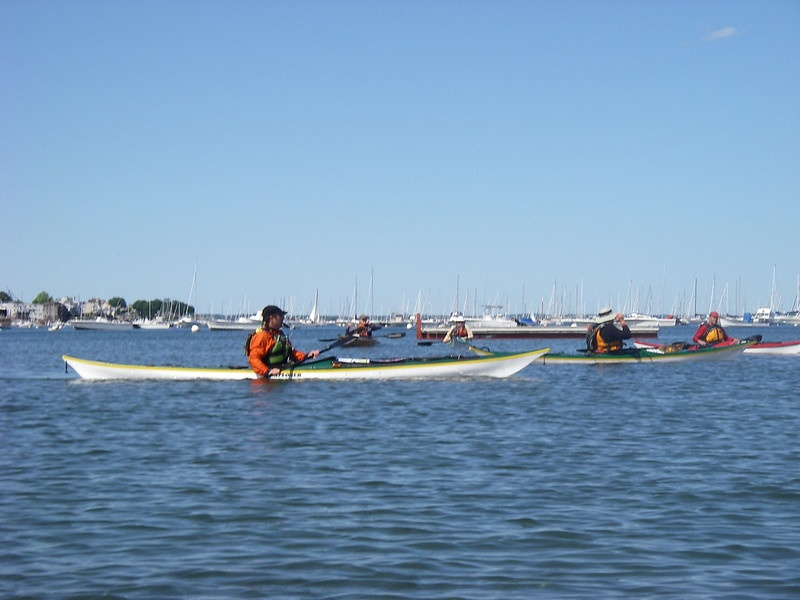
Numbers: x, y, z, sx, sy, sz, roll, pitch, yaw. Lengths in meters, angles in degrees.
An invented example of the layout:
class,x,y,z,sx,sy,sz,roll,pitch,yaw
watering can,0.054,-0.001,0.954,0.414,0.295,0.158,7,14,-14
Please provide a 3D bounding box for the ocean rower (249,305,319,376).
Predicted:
class,x,y,z,sx,sy,sz,roll,pitch,yaw
ocean rower,-4.709,1.686,46.933,2.512,4.227,2.201,-2,25,8
